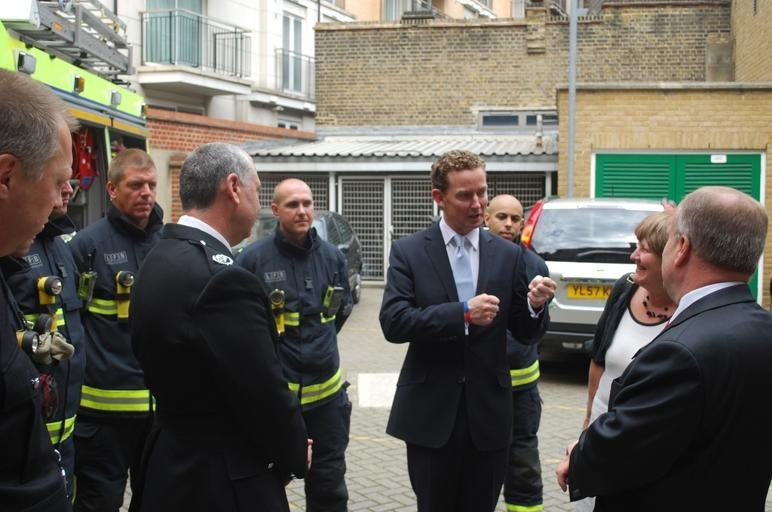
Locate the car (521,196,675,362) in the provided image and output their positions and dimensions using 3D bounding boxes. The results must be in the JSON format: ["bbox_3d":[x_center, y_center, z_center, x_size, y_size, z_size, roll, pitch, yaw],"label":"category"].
[{"bbox_3d":[2.279,0.085,10.517,1.246,1.197,2.296,1,9,9],"label":"car"}]

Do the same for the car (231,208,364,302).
[{"bbox_3d":[-1.127,-0.110,15.160,1.225,1.065,2.185,0,-3,7],"label":"car"}]

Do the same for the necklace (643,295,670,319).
[{"bbox_3d":[1.721,0.334,5.573,0.033,0.124,0.131,-38,5,39],"label":"necklace"}]
